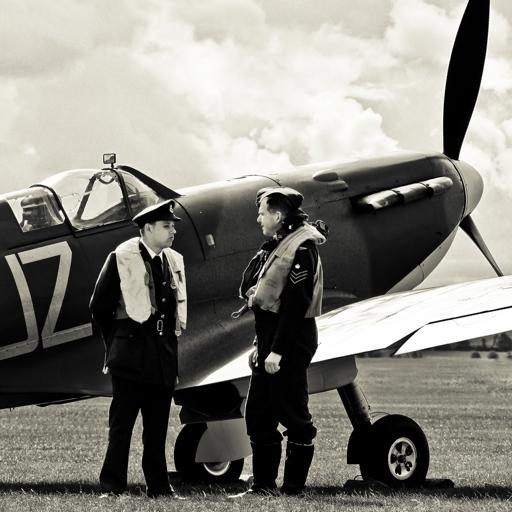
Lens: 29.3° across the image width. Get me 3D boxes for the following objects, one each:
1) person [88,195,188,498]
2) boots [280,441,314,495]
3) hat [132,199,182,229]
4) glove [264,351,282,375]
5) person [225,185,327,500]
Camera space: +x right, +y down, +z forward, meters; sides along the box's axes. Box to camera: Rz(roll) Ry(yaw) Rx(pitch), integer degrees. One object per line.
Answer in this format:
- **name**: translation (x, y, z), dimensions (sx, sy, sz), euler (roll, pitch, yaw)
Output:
- **person**: translation (-0.823, 0.652, 6.986), dimensions (0.676, 2.127, 0.423), euler (-2, -6, -9)
- **boots**: translation (0.288, 1.484, 6.904), dimensions (0.242, 0.368, 0.167), euler (-3, -6, 2)
- **hat**: translation (-0.712, -0.303, 7.010), dimensions (0.270, 0.117, 0.235), euler (-9, 7, 7)
- **glove**: translation (0.122, 0.733, 6.730), dimensions (0.127, 0.118, 0.211), euler (-16, 1, 3)
- **person**: translation (0.180, 0.580, 6.920), dimensions (0.683, 2.166, 0.449), euler (-5, -6, 17)
